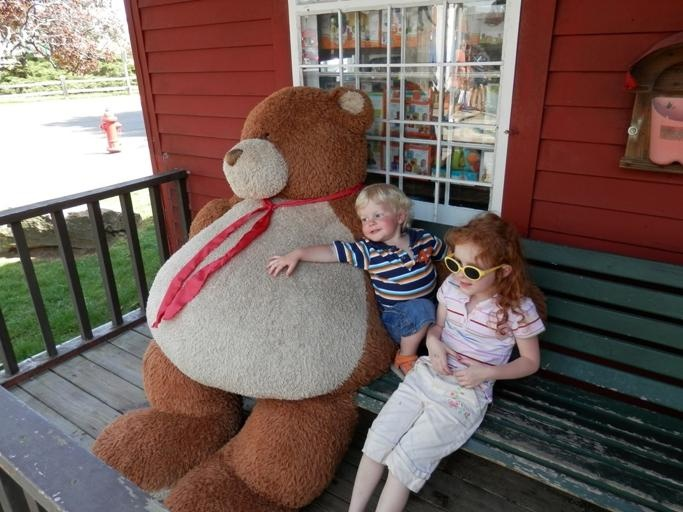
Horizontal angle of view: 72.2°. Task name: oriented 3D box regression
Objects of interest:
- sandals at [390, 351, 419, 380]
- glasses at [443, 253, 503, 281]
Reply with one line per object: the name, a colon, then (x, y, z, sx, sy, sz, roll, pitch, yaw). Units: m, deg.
sandals: (0.305, 0.535, 2.289, 0.140, 0.125, 0.095, 8, 0, 14)
glasses: (0.556, 0.055, 1.998, 0.226, 0.074, 0.112, 10, 23, 21)
